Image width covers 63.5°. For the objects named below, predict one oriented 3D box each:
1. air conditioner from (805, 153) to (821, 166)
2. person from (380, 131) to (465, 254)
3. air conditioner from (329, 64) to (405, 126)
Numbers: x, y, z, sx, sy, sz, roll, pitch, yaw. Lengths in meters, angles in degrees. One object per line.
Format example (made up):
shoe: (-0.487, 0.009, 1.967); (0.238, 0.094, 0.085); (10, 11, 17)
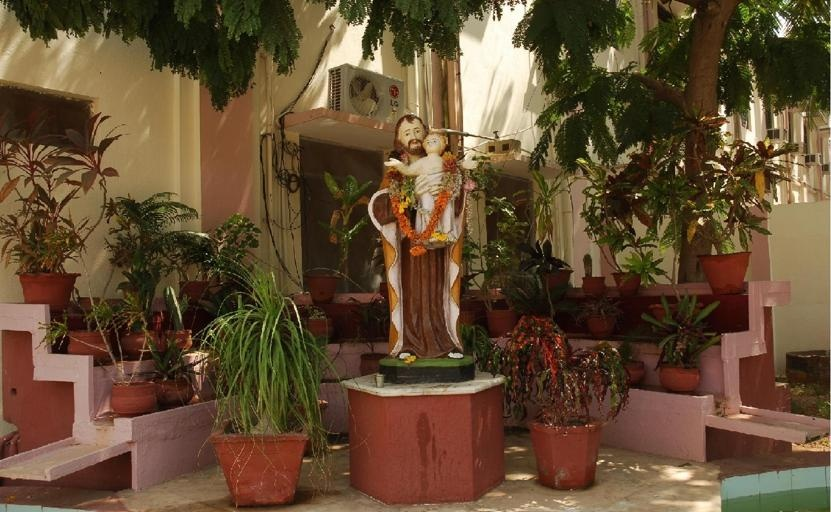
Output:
air conditioner: (9.699, -2.352, 16.269); (0.315, 0.317, 0.676); (-3, -5, 32)
person: (0.092, -0.546, 5.765); (0.633, 1.041, 0.224); (0, -4, 1)
air conditioner: (-0.610, -2.012, 8.646); (1.047, 0.674, 0.328); (-1, 1, -44)
